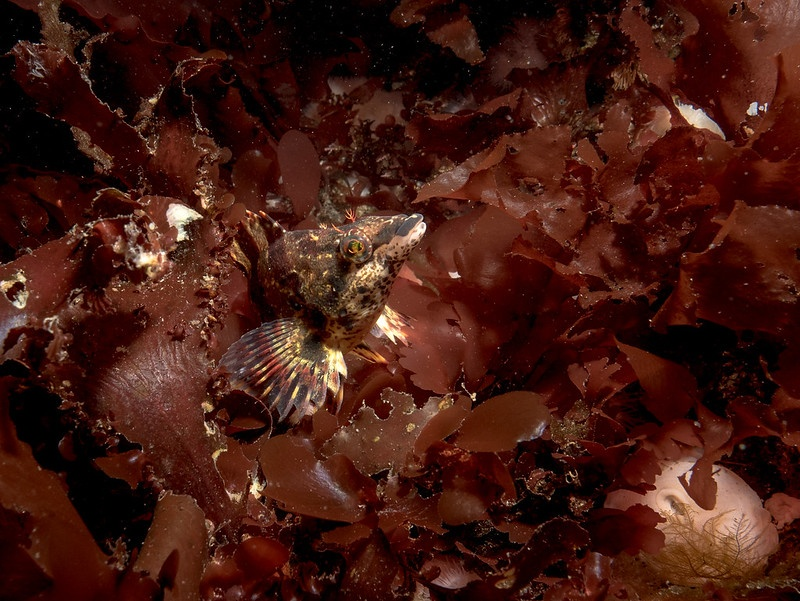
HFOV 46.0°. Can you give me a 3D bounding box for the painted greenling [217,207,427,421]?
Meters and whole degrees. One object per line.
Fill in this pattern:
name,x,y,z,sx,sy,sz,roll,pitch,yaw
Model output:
painted greenling,-0.200,0.041,2.555,0.483,0.240,0.589,5,82,3
